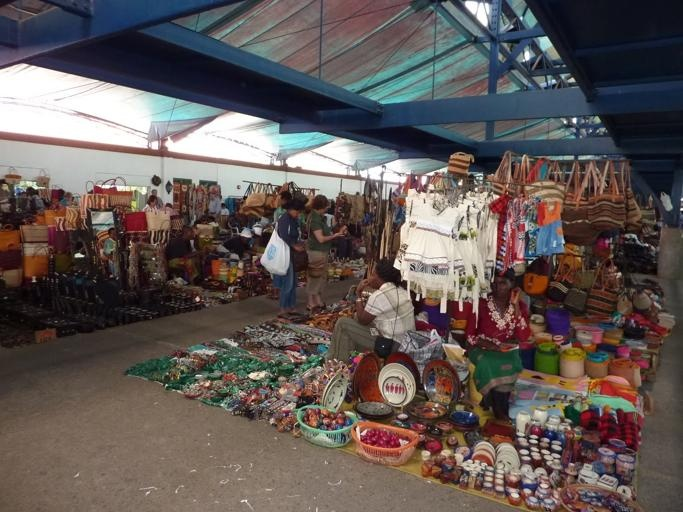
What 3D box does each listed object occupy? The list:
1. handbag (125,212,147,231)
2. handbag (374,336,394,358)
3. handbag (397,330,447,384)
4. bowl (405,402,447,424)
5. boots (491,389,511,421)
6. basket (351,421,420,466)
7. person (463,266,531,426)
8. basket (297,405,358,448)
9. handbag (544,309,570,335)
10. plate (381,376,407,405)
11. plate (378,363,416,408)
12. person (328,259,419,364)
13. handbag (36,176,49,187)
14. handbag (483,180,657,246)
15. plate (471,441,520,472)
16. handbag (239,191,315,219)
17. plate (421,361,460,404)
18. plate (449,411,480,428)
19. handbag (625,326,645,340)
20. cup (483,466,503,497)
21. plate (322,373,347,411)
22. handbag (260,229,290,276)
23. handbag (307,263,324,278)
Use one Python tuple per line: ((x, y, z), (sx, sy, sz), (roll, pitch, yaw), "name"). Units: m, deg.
((-3.461, -0.582, 7.656), (0.323, 0.288, 0.310), (0, -1, 14), "handbag")
((0.440, 0.907, 4.633), (0.210, 0.192, 0.080), (11, 2, 29), "handbag")
((0.790, 0.917, 4.422), (0.459, 0.189, 0.465), (2, 15, 5), "handbag")
((0.780, 1.387, 4.110), (0.325, 0.102, 0.313), (4, 3, 0), "bowl")
((1.506, 1.328, 4.189), (0.281, 0.206, 0.148), (2, 4, -39), "boots")
((0.336, 1.497, 3.644), (0.548, 0.170, 0.310), (5, 3, 13), "basket")
((1.547, 0.791, 4.555), (0.609, 1.023, 0.982), (6, 4, 23), "person")
((-0.144, 1.406, 3.830), (0.326, 0.120, 0.357), (3, 7, 17), "basket")
((2.697, 0.773, 5.614), (0.333, 0.295, 0.276), (10, 9, 40), "handbag")
((0.508, 1.258, 4.303), (0.253, 0.232, 0.057), (-17, -12, 27), "plate")
((0.468, 1.254, 4.326), (0.430, 0.386, 0.100), (11, -13, -25), "plate")
((0.331, 0.586, 4.806), (0.881, 1.099, 0.422), (6, 3, 16), "person")
((-7.479, -1.871, 11.459), (0.305, 0.258, 0.297), (2, -4, -10), "handbag")
((2.898, -0.515, 5.276), (1.353, 0.513, 0.993), (0, 2, 9), "handbag")
((1.218, 1.511, 3.521), (0.210, 0.045, 0.208), (9, -4, -42), "plate")
((-1.438, -1.016, 9.135), (1.084, 0.347, 0.860), (-1, 3, 18), "handbag")
((0.928, 1.149, 4.232), (0.381, 0.347, 0.079), (2, 9, 36), "plate")
((1.081, 1.420, 4.008), (0.243, 0.078, 0.213), (4, 3, 7), "plate")
((3.772, 0.977, 5.823), (0.184, 0.112, 0.195), (3, 6, 12), "handbag")
((1.116, 1.631, 3.336), (0.122, 0.047, 0.213), (3, 7, 13), "cup")
((-0.047, 1.244, 4.233), (0.091, 0.277, 0.288), (16, 40, 28), "plate")
((-0.962, -0.068, 6.762), (0.412, 0.701, 0.256), (4, 3, -4), "handbag")
((-0.371, 0.195, 7.144), (0.233, 0.189, 0.232), (9, 12, 37), "handbag")
